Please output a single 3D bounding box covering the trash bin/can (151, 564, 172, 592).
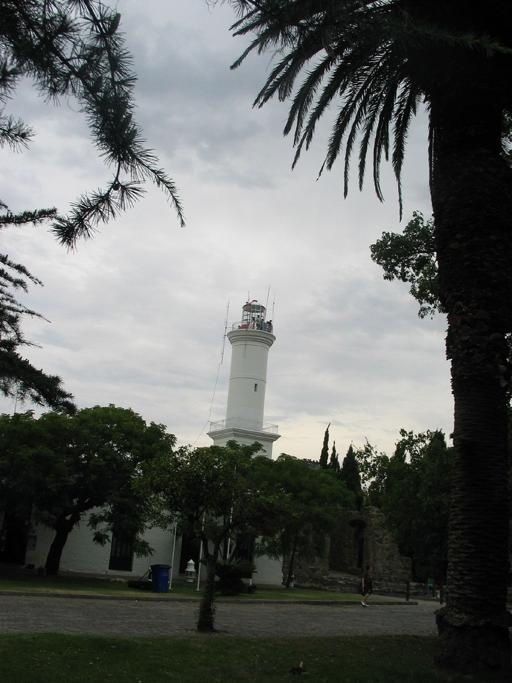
[{"bbox_3d":[-3.726,9.111,26.236,0.783,0.995,1.300,7,-16,-6],"label":"trash bin/can"}]
